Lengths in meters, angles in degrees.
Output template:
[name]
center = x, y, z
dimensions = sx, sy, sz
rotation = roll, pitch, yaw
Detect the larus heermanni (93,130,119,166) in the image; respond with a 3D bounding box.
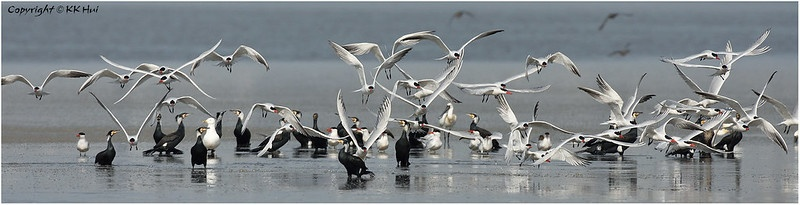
[larus heermanni]
center = -30.034, 4.595, 104.605
dimensions = 1.928, 3.656, 1.832
rotation = 2, -12, -11

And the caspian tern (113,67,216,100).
[caspian tern]
center = -24.747, -2.408, 107.823
dimensions = 8.247, 1.026, 3.045
rotation = -6, 7, -3
